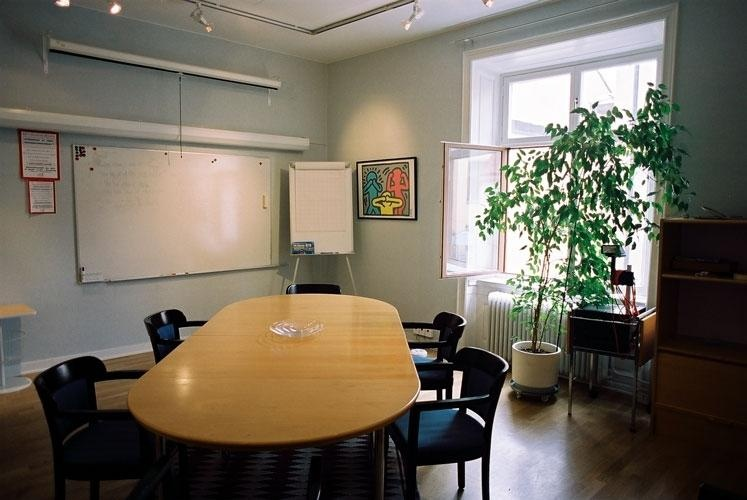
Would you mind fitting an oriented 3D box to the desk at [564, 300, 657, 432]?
[{"bbox_3d":[2.698,1.103,5.486,0.947,1.516,1.111,2,3,34],"label":"desk"}]

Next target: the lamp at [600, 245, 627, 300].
[{"bbox_3d":[2.449,0.187,5.339,0.198,0.545,0.401,2,7,24],"label":"lamp"}]

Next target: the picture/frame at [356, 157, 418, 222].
[{"bbox_3d":[0.216,-0.871,7.222,0.931,0.831,0.064,2,6,37],"label":"picture/frame"}]
